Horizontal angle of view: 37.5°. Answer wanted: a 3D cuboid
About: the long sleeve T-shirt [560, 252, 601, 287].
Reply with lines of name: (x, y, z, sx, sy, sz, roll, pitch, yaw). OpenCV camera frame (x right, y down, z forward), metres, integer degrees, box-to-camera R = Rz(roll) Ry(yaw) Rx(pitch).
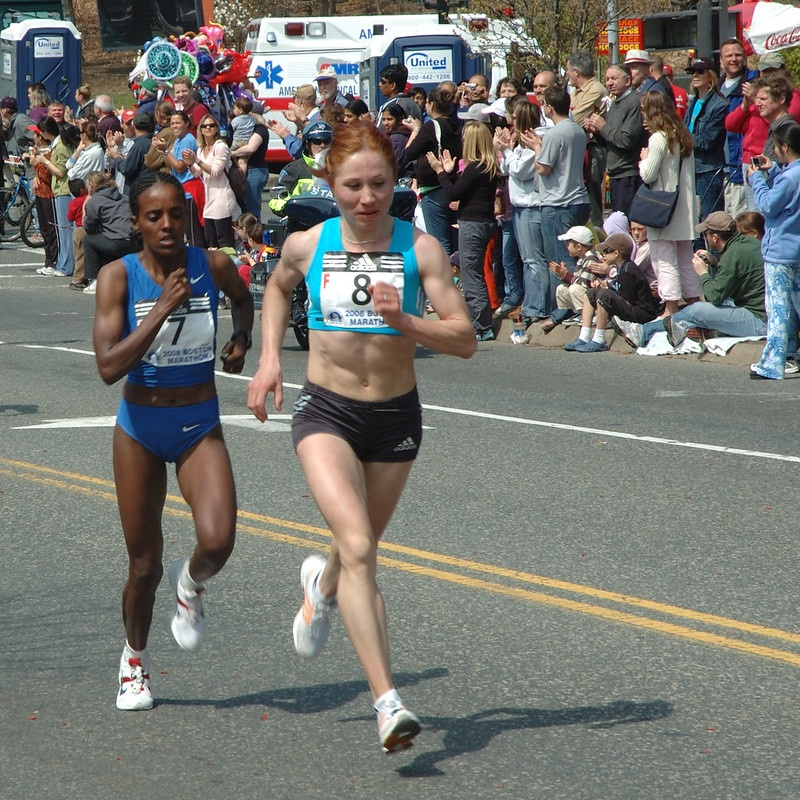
long sleeve T-shirt: (1.902, -1.387, 12.203, 0.457, 0.381, 0.347, 14, 19, 4)

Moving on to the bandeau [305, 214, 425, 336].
bandeau: (-0.105, -0.389, 3.738, 0.528, 0.361, 0.245, 2, 4, 3)

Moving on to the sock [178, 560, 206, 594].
sock: (-0.692, 0.591, 3.904, 0.114, 0.086, 0.120, 1, -4, 3)

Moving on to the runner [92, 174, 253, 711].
runner: (-0.749, 0.134, 3.956, 0.513, 1.775, 0.655, -3, 12, -7)

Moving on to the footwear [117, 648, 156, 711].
footwear: (-0.892, 0.942, 3.946, 0.110, 0.097, 0.263, 1, 12, -17)

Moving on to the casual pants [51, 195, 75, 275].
casual pants: (-5.219, -2.527, 18.223, 0.298, 1.261, 0.893, -4, 11, -15)

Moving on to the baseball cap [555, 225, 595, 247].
baseball cap: (1.780, -1.663, 11.920, 0.355, 0.138, 0.212, 5, 6, 9)

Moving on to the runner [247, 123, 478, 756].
runner: (-0.110, 0.041, 3.651, 0.688, 1.568, 1.553, -5, 17, -9)

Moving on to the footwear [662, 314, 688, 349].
footwear: (2.679, -0.686, 11.572, 0.207, 0.342, 0.137, -4, -25, -6)

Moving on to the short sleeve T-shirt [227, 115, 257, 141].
short sleeve T-shirt: (-2.340, -4.006, 17.418, 0.515, 0.462, 0.388, 4, 15, -3)

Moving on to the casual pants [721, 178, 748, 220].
casual pants: (3.701, -2.207, 12.938, 0.260, 0.350, 0.536, 2, 10, 14)

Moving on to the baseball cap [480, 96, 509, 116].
baseball cap: (1.146, -3.496, 13.997, 0.392, 0.166, 0.234, 12, 7, -5)

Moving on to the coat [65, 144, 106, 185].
coat: (-4.707, -3.509, 17.362, 0.533, 0.585, 0.676, 3, 11, 19)

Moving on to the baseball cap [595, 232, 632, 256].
baseball cap: (2.160, -1.566, 11.812, 0.343, 0.150, 0.210, 12, 14, 12)

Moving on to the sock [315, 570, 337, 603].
sock: (-0.244, 0.620, 3.929, 0.080, 0.096, 0.047, -2, 2, -24)

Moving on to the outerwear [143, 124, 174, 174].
outerwear: (-3.018, -3.148, 14.732, 0.372, 0.567, 1.075, -3, 10, -10)

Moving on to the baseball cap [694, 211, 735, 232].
baseball cap: (2.959, -1.686, 11.159, 0.331, 0.149, 0.220, 3, 17, 34)
